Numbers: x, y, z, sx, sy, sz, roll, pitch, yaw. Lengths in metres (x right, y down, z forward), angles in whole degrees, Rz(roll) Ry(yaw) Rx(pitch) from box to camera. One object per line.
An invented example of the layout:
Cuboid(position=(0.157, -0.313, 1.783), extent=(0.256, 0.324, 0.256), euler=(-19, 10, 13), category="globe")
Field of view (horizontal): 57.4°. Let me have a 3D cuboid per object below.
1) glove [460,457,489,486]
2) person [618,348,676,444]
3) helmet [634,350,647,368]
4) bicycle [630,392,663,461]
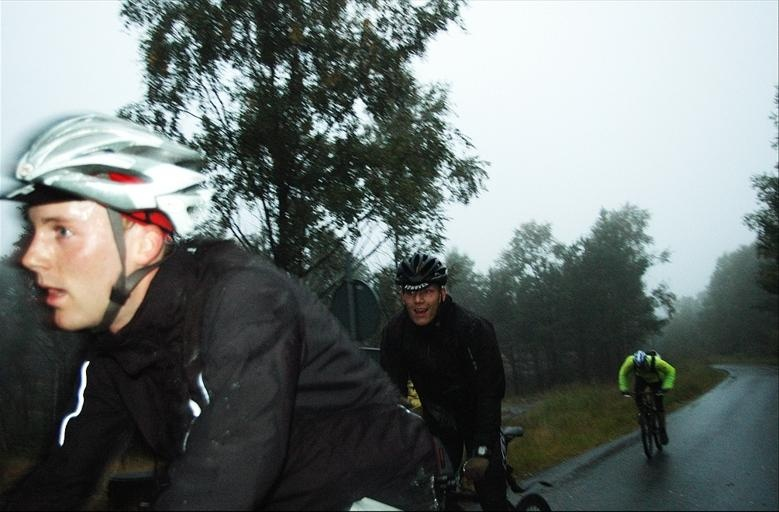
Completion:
Cuboid(position=(0.688, 1.692, 5.610), extent=(0.198, 0.223, 0.160), euler=(-5, -6, 17), category="glove")
Cuboid(position=(3.400, 1.840, 9.354), extent=(0.700, 1.210, 1.866), euler=(-3, -3, 21), category="person")
Cuboid(position=(3.023, 1.245, 8.581), extent=(0.089, 0.204, 0.299), euler=(-8, -8, 40), category="helmet")
Cuboid(position=(3.216, 2.148, 8.805), extent=(0.266, 0.600, 0.845), euler=(-5, -7, 19), category="bicycle")
